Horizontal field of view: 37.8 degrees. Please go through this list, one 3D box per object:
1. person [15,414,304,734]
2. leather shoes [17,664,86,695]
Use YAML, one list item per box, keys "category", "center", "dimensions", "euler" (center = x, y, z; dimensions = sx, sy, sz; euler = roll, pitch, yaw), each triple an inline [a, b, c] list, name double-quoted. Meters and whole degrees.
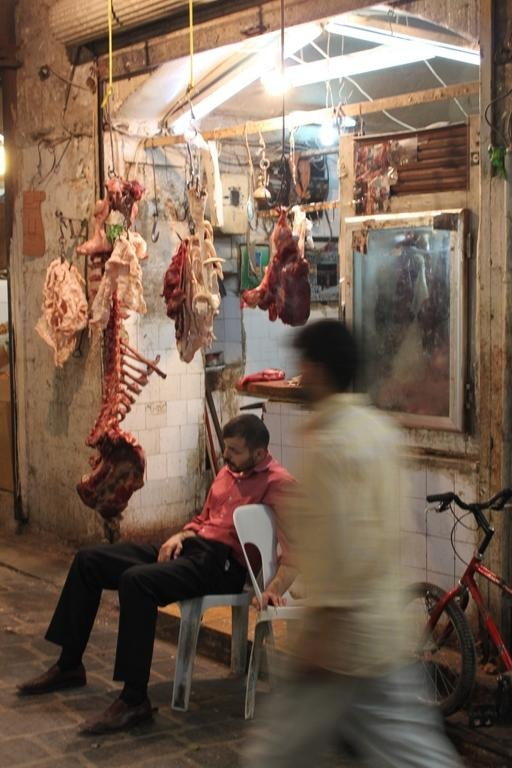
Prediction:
- category: "person"
  center: [-0.585, 0.880, 4.026]
  dimensions: [1.225, 2.274, 1.001]
  euler: [5, -2, -28]
- category: "leather shoes"
  center: [-1.018, 1.436, 3.736]
  dimensions: [0.330, 0.206, 0.127]
  euler: [2, -12, -33]
